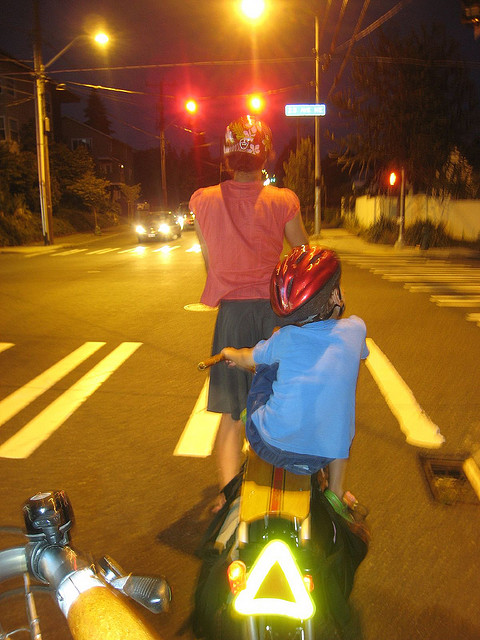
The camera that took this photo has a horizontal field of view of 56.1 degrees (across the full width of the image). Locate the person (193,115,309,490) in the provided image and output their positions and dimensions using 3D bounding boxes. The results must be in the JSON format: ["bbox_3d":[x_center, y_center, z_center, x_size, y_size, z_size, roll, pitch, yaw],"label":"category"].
[{"bbox_3d":[0.085,0.073,2.797,0.671,2.603,0.682,-6,-17,24],"label":"person"}]

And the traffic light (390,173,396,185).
[{"bbox_3d":[7.034,-6.200,19.883,0.252,0.497,0.106,3,-7,11],"label":"traffic light"}]

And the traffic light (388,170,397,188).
[{"bbox_3d":[7.090,-6.270,20.071,0.418,0.693,0.159,0,-6,16],"label":"traffic light"}]

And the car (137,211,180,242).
[{"bbox_3d":[-6.976,-6.357,30.793,1.984,1.924,3.519,1,11,11],"label":"car"}]
